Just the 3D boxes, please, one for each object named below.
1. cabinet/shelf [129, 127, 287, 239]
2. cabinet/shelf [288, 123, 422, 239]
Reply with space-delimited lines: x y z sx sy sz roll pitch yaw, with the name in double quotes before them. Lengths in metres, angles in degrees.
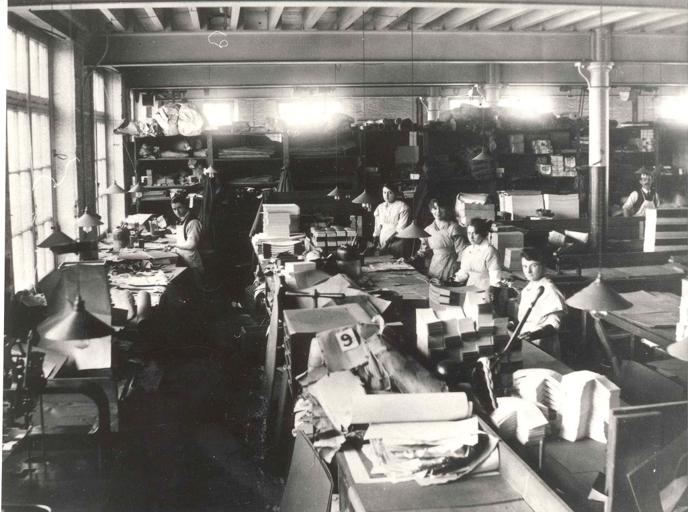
"cabinet/shelf" -2.080 -0.871 10.092 2.157 1.915 0.700 -2 -8 -16
"cabinet/shelf" 0.070 -1.083 9.336 1.683 1.596 0.560 -1 4 -1
